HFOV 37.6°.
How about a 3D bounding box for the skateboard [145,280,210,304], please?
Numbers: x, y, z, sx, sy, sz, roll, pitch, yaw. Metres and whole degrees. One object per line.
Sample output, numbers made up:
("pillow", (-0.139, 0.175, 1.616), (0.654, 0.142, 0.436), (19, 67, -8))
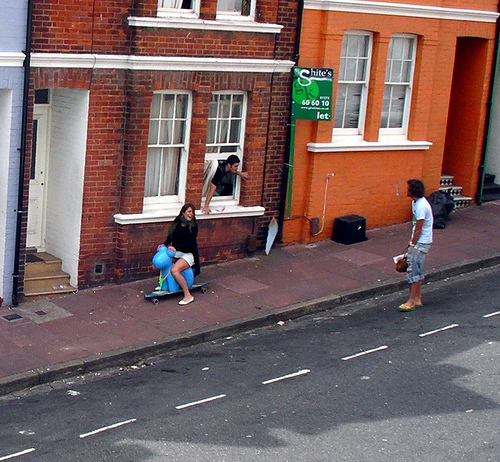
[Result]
("skateboard", (-1.137, 1.008, 12.351), (1.445, 0.172, 0.349), (-7, 14, -26))

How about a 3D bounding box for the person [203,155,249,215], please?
("person", (-0.456, -0.880, 14.026), (0.649, 1.116, 0.980), (3, 7, 12))

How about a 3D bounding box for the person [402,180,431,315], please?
("person", (2.714, 0.279, 11.959), (0.393, 2.212, 0.641), (3, 7, 13))

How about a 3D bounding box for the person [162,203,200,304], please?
("person", (-1.133, 0.373, 12.048), (0.539, 1.613, 0.402), (0, 6, -8))
